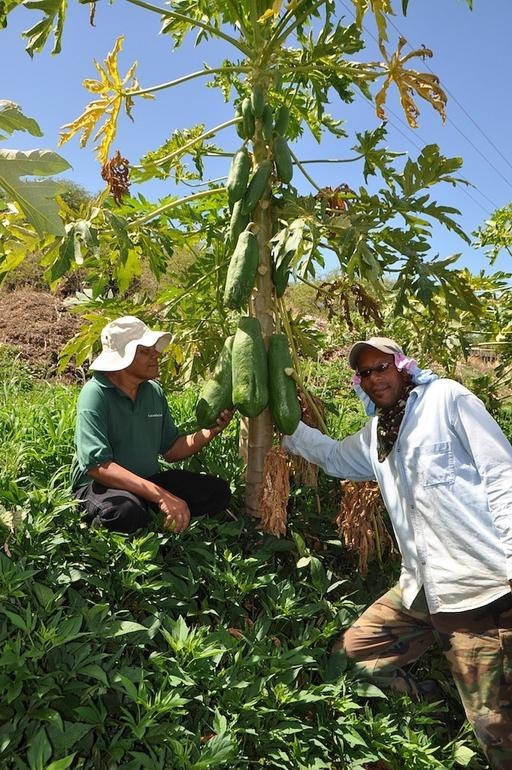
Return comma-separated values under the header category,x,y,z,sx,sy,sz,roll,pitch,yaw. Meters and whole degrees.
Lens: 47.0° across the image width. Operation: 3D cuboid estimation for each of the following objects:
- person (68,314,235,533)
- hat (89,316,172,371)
category,x,y,z,sx,sy,sz,roll,pitch,yaw
person,-0.599,0.204,3.106,0.761,1.047,0.978,6,6,31
hat,-0.641,-0.199,3.057,0.335,0.162,0.337,-26,-18,28
